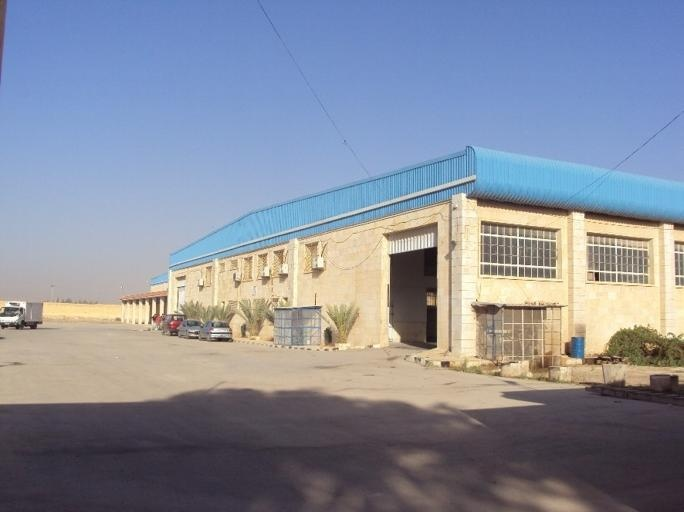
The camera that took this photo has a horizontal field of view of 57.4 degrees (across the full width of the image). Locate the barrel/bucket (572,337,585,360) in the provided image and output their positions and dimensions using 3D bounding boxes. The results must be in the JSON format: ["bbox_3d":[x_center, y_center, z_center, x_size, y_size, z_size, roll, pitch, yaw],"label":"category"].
[{"bbox_3d":[11.350,4.426,30.059,0.520,1.034,0.460,1,-8,8],"label":"barrel/bucket"}]

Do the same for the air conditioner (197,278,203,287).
[{"bbox_3d":[-14.693,2.822,65.210,0.749,1.177,1.115,1,-2,-19],"label":"air conditioner"}]

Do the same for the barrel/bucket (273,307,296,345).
[{"bbox_3d":[-3.688,4.593,40.775,1.728,2.331,1.708,1,2,0],"label":"barrel/bucket"}]
